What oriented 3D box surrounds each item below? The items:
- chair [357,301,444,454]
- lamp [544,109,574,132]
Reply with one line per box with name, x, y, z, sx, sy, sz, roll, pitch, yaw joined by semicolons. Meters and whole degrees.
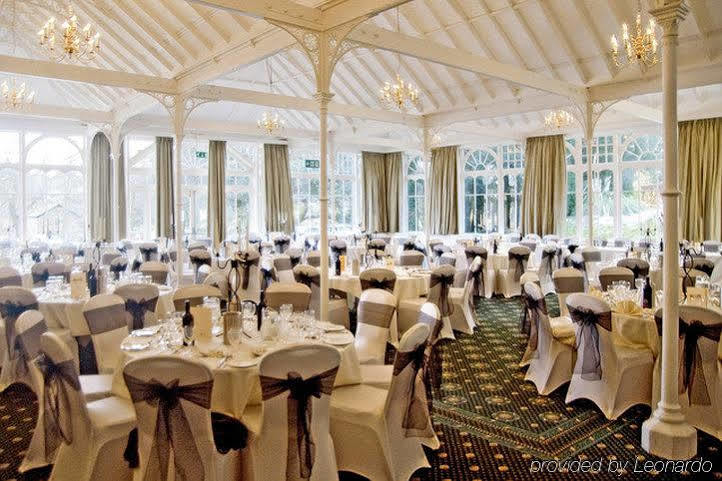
chair;0.355;1.405;5.686;1.069;1.649;1.121;3;3;27
lamp;5.015;-3.030;12.875;0.651;0.524;0.618;-18;20;-35
